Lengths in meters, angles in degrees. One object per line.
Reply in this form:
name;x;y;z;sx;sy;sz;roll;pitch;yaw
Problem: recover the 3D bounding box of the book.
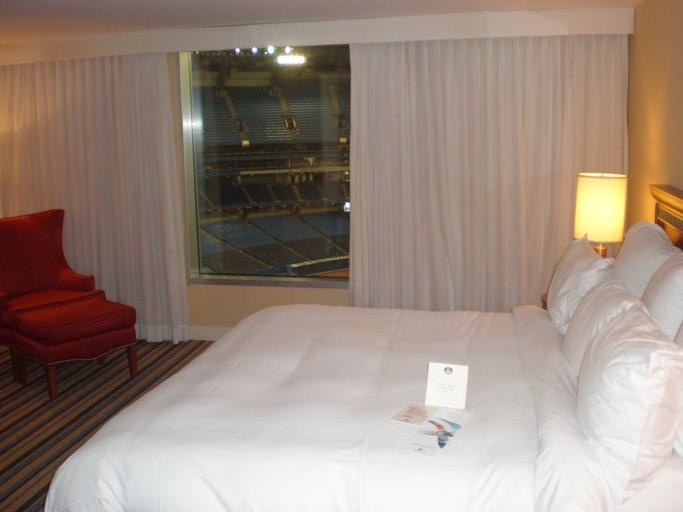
book;0.413;0.672;2.402;0.283;0.224;0.381;2;15;18
